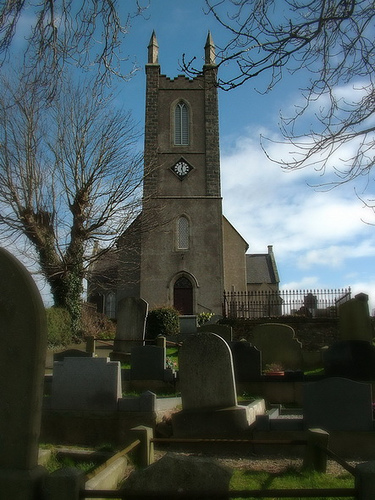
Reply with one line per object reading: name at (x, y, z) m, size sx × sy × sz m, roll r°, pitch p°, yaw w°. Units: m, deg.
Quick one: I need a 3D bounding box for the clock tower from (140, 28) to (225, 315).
clock tower at (-0.141, -3.286, 25.490) m, size 5.412 × 13.899 × 5.023 m, roll 5°, pitch -7°, yaw -43°

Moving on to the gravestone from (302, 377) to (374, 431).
gravestone at (1.601, 1.650, 5.316) m, size 0.734 × 0.550 × 0.157 m, roll -4°, pitch -12°, yaw 12°

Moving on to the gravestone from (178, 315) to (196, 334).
gravestone at (-0.024, 2.840, 18.940) m, size 0.661 × 0.580 × 0.618 m, roll 0°, pitch -13°, yaw -3°
